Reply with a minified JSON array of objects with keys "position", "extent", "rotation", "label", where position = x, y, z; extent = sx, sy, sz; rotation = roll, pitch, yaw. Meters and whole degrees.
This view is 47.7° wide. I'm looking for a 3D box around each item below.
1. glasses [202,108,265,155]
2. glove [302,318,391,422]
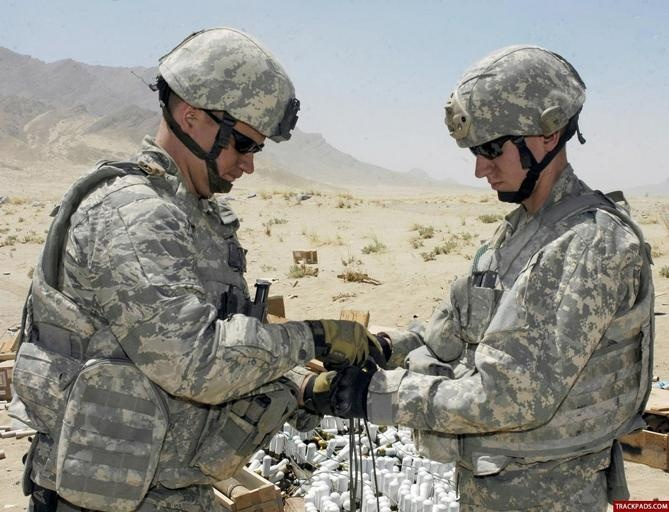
[{"position":[-0.532,-0.631,3.975],"extent":[0.250,0.076,0.189],"rotation":[40,14,23],"label":"glasses"},{"position":[0.046,0.606,4.023],"extent":[0.534,0.504,0.248],"rotation":[6,-31,-4],"label":"glove"}]
